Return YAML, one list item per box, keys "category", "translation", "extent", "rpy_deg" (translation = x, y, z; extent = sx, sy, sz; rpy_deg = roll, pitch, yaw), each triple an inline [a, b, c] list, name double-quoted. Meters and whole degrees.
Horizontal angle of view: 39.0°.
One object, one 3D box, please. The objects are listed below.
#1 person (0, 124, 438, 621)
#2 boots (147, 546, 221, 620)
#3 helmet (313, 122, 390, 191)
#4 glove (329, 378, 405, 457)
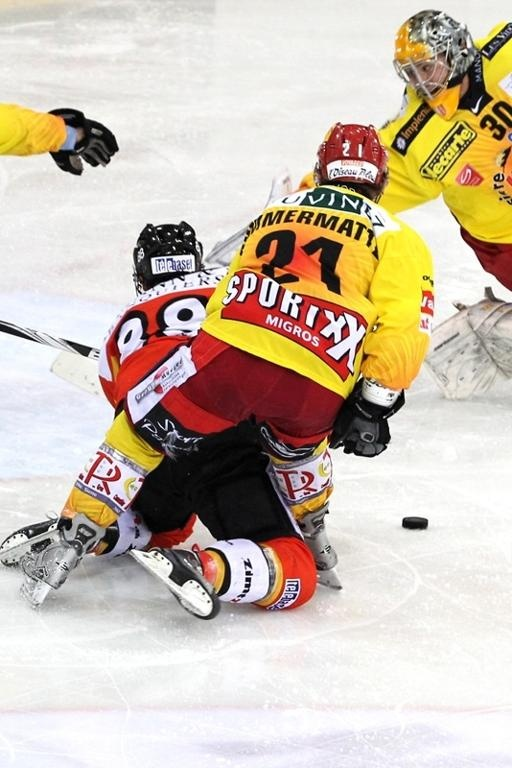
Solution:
- category: "person"
  translation: [-0.058, -0.056, 2.026]
  extent: [1.041, 1.378, 0.750]
  rpy_deg: [4, 4, 12]
- category: "boots"
  translation: [-0.174, 0.497, 1.789]
  extent: [0.229, 0.077, 0.099]
  rpy_deg: [43, 37, 7]
- category: "helmet"
  translation: [0.244, -0.607, 2.056]
  extent: [0.189, 0.198, 0.209]
  rpy_deg: [4, -5, 1]
- category: "glove"
  translation: [0.291, 0.094, 1.953]
  extent: [0.161, 0.203, 0.111]
  rpy_deg: [4, 4, 12]
